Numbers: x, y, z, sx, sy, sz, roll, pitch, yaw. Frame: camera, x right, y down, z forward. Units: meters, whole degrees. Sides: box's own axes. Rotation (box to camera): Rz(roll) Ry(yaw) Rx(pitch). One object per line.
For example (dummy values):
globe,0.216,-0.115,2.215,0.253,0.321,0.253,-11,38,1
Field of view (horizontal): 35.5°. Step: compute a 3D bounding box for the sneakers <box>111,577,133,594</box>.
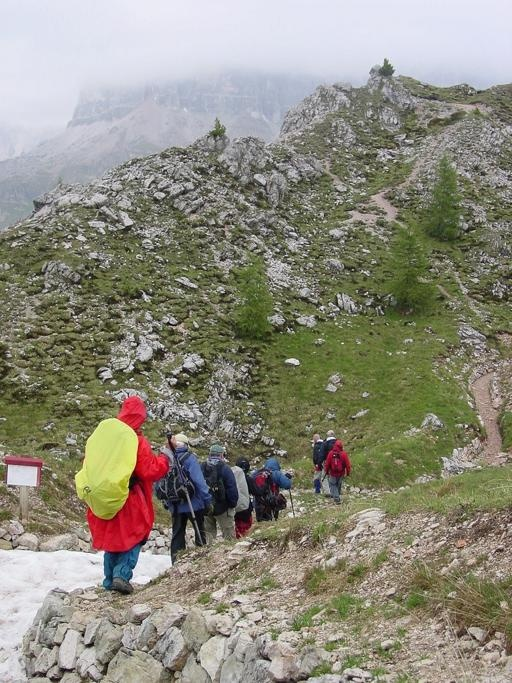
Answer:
sneakers,-3.263,5.959,19.524,0.293,0.597,0.284,-14,38,-12
